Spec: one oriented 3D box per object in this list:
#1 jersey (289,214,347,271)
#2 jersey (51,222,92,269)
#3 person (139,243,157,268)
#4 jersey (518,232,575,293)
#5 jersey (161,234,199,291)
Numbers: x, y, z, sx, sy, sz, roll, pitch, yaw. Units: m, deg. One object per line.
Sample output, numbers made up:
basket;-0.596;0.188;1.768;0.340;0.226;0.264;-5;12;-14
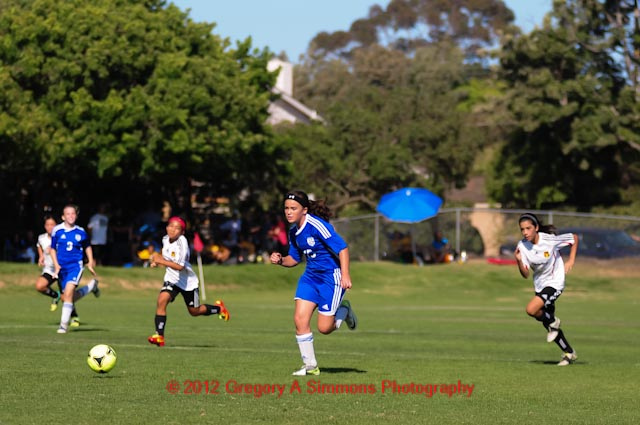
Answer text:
jersey;-0.162;0.666;28.575;1.402;1.491;0.786;-4;24;32
jersey;-6.375;0.919;31.948;0.987;1.280;0.721;2;13;-6
person;-5.553;1.341;40.159;0.568;0.869;0.321;2;-3;33
jersey;5.294;1.250;29.775;1.348;1.490;0.798;-9;6;9
jersey;-3.477;1.175;30.363;0.719;1.354;1.125;-17;28;-37
